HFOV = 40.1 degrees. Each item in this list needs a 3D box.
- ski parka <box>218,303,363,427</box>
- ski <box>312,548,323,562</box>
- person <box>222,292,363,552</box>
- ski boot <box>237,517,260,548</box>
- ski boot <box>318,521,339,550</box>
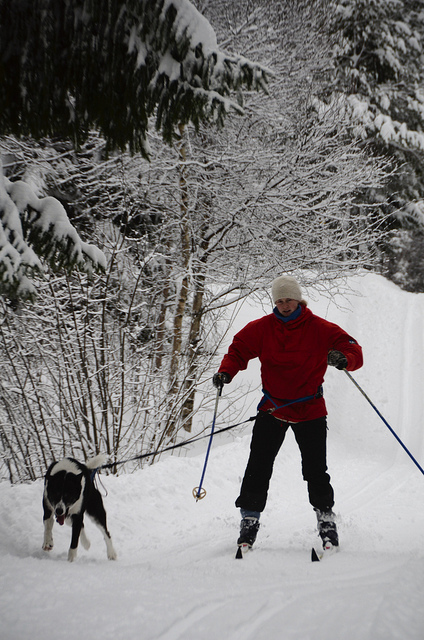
[{"bbox_3d":[0.552,0.311,4.122,0.973,0.849,0.511,-1,-7,21],"label":"ski parka"},{"bbox_3d":[0.669,1.497,3.711,0.044,0.037,0.075,-27,16,-4],"label":"ski"},{"bbox_3d":[0.522,0.704,4.047,0.953,1.792,0.494,2,-5,14],"label":"person"},{"bbox_3d":[0.246,1.464,3.985,0.132,0.193,0.141,2,-5,4],"label":"ski boot"},{"bbox_3d":[0.798,1.459,3.971,0.076,0.216,0.099,-6,-29,6],"label":"ski boot"}]
